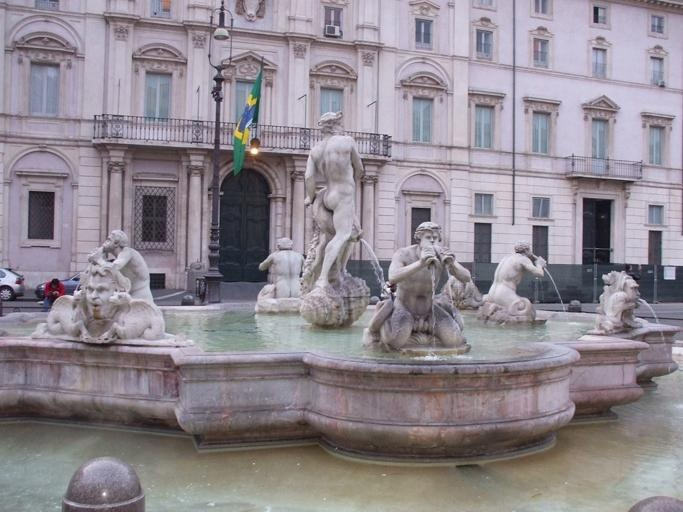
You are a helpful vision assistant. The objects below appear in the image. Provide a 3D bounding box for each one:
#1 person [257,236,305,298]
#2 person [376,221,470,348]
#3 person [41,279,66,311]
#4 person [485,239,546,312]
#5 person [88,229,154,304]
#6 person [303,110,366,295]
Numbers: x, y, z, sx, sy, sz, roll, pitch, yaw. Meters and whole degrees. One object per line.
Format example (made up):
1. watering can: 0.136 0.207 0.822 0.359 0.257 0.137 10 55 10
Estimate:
1. person: -1.319 0.275 20.216 1.027 1.304 0.732 -1 1 -24
2. person: 1.247 0.460 14.202 1.350 1.942 0.725 0 1 2
3. person: -6.964 0.940 22.262 0.492 1.124 0.691 6 -44 -22
4. person: 3.351 0.503 18.150 1.109 1.494 0.642 0 1 13
5. person: -3.777 0.322 15.304 0.901 1.620 0.768 2 27 -21
6. person: -0.127 -1.079 17.296 1.031 3.214 0.713 0 1 1
